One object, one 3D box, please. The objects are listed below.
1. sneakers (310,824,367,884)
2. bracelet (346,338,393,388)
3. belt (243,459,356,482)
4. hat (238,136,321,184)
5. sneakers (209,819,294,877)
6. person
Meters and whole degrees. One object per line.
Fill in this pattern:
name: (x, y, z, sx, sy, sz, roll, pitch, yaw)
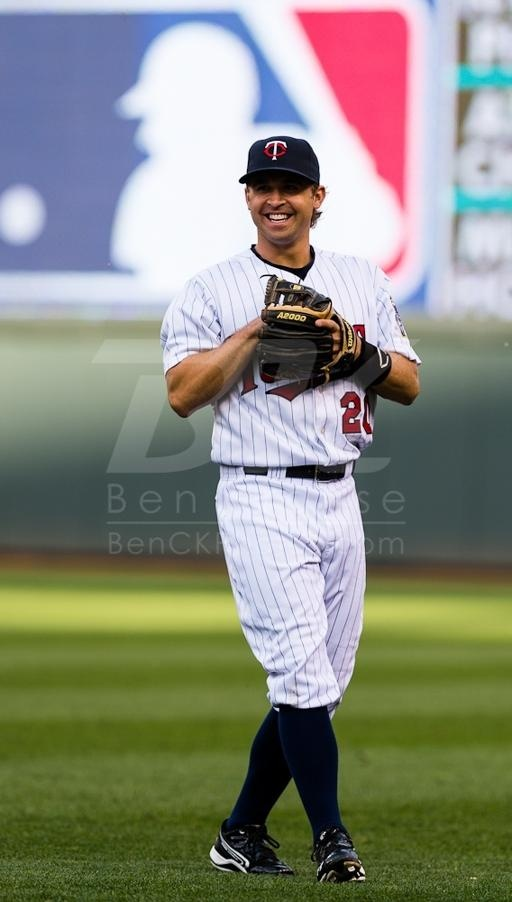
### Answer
sneakers: (0.162, 0.817, 2.042, 0.065, 0.067, 0.155, -7, -15, -9)
bracelet: (0.242, -0.199, 2.286, 0.082, 0.099, 0.083, 22, -15, 44)
belt: (0.105, 0.046, 2.226, 0.258, 0.048, 0.083, 2, -6, -19)
hat: (0.050, -0.638, 2.238, 0.171, 0.104, 0.111, 0, -6, -1)
sneakers: (-0.020, 0.909, 2.355, 0.222, 0.098, 0.082, 3, -12, 38)
person: (0.091, 0.107, 2.227, 0.603, 1.571, 0.332, 1, -6, -6)
